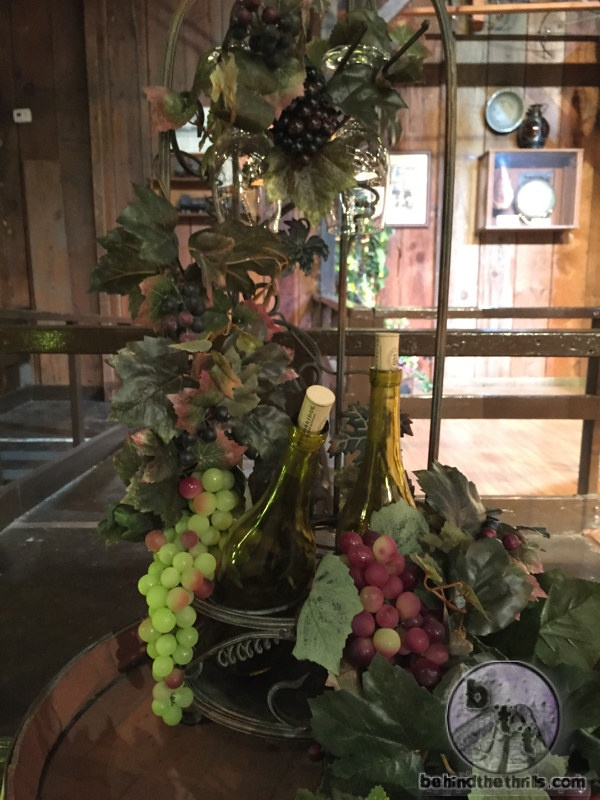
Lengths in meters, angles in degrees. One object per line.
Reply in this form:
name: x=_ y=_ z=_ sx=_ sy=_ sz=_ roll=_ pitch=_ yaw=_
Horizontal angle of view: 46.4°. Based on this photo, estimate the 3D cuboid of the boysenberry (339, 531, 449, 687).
boysenberry: x=0.060 y=0.133 z=0.460 sx=0.046 sy=0.047 sz=0.107 roll=12 pitch=21 yaw=-26

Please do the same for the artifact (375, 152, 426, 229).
artifact: x=0.602 y=-1.152 z=3.874 sx=0.256 sy=0.396 sz=0.111 roll=-1 pitch=15 yaw=-8
